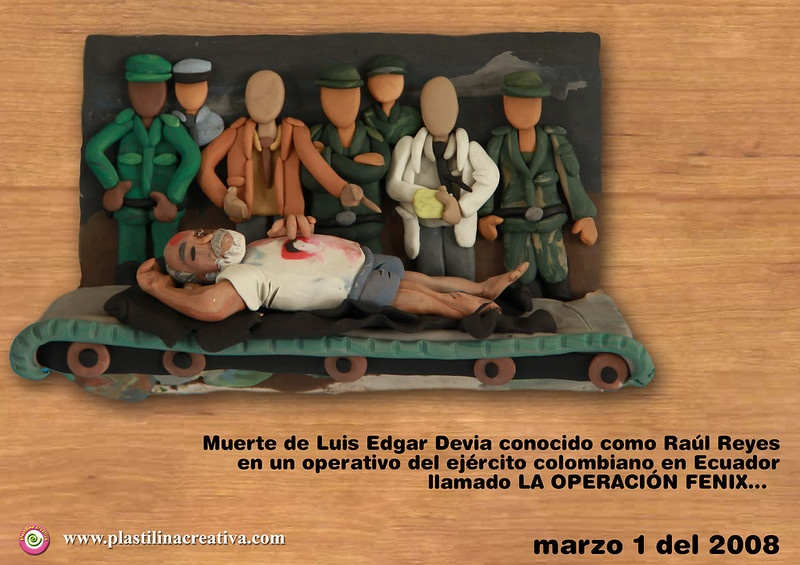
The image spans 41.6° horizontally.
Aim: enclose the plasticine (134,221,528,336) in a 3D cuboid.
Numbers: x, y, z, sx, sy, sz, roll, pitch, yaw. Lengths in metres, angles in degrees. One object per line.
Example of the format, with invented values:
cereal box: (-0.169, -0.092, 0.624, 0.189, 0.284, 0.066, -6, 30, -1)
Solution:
plasticine: (-0.278, -0.011, 4.312, 1.318, 0.214, 0.570, 5, 16, -5)
